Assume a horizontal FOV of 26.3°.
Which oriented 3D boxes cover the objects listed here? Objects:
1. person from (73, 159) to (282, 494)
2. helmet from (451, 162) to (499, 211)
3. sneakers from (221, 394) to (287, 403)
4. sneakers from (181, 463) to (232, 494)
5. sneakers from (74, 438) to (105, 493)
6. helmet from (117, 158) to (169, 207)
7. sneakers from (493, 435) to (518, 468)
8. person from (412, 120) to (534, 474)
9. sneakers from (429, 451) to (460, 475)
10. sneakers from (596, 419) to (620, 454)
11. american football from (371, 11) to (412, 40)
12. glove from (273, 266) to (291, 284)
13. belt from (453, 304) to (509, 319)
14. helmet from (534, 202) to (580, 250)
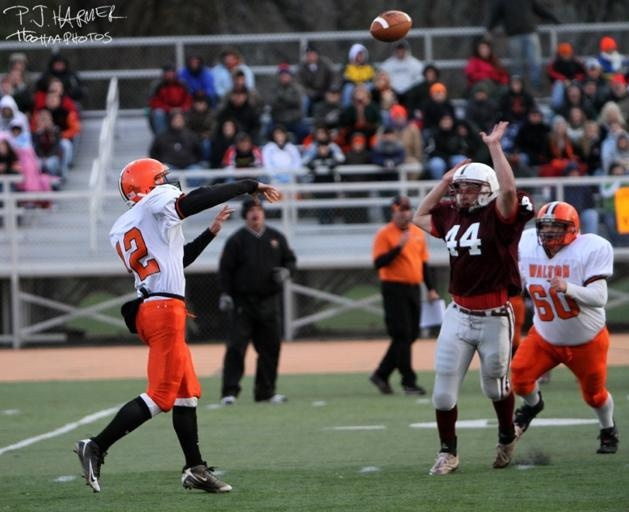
[{"bbox_3d":[-1.278,0.586,11.641,1.610,2.843,0.972,-3,6,-3],"label":"person"},{"bbox_3d":[1.405,-0.641,11.979,0.377,0.378,0.509,3,4,34],"label":"helmet"},{"bbox_3d":[-0.692,1.601,15.194,0.602,0.126,0.103,0,-14,-4],"label":"sneakers"},{"bbox_3d":[-0.873,1.903,11.502,0.519,0.258,0.184,4,-3,0],"label":"sneakers"},{"bbox_3d":[-1.895,1.771,11.329,0.214,0.466,0.181,-8,8,-43],"label":"sneakers"},{"bbox_3d":[-1.526,-0.660,11.800,0.472,0.364,0.336,-10,3,-27],"label":"helmet"},{"bbox_3d":[1.678,1.770,12.002,0.168,0.344,0.126,13,14,-15],"label":"sneakers"},{"bbox_3d":[1.468,0.340,11.962,0.935,3.028,0.801,-2,6,4],"label":"person"},{"bbox_3d":[1.129,1.812,11.776,0.121,0.133,0.331,-6,-7,37],"label":"sneakers"},{"bbox_3d":[2.667,1.651,12.305,0.192,0.241,0.330,-1,6,14],"label":"sneakers"},{"bbox_3d":[0.695,-2.050,11.953,0.331,0.190,0.228,-6,-6,-42],"label":"american football"},{"bbox_3d":[-0.386,0.220,15.431,0.158,0.179,0.195,2,-38,2],"label":"glove"},{"bbox_3d":[1.479,0.484,11.798,0.439,0.095,0.090,-1,6,8],"label":"belt"},{"bbox_3d":[2.235,-0.276,12.438,0.373,0.441,0.515,2,-7,27],"label":"helmet"}]
